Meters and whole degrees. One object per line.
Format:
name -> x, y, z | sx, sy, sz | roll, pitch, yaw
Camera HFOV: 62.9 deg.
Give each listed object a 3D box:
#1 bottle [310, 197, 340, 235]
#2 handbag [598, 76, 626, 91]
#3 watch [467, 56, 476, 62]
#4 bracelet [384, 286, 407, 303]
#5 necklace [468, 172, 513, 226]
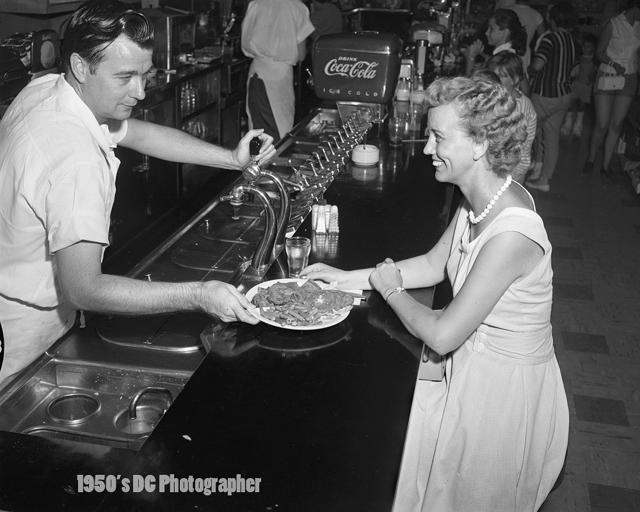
bottle -> 0.024, -0.171, 2.376 | 0.124, 0.129, 0.129 | 0, 11, -11
handbag -> 3.449, -2.029, 6.146 | 0.152, 0.154, 0.065 | 5, 23, 28
watch -> 2.064, -2.642, 7.079 | 0.088, 0.089, 0.092 | 7, 17, 25
bracelet -> 0.270, 0.128, 1.835 | 0.056, 0.024, 0.051 | -26, 6, 13
necklace -> 0.576, -0.180, 1.747 | 0.039, 0.155, 0.138 | 43, 7, 4
